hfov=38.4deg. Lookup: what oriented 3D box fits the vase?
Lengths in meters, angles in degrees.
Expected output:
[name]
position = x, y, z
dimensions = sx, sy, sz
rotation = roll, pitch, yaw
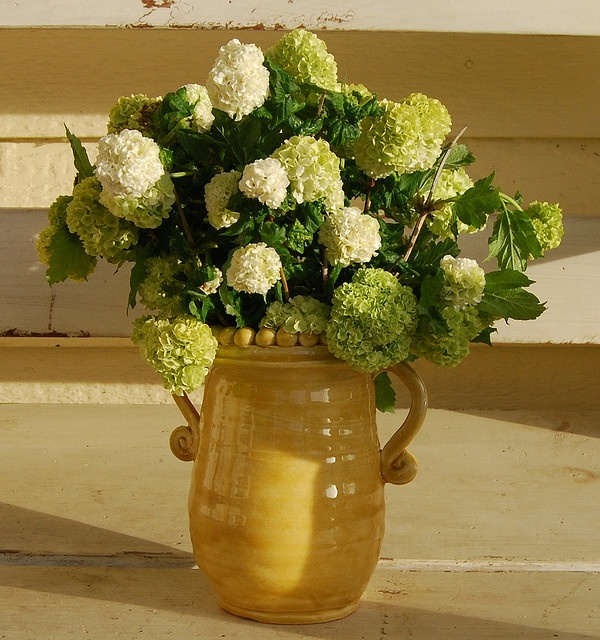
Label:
[vase]
position = -0.069, 0.199, 1.050
dimensions = 0.444, 0.290, 0.259
rotation = 4, -7, -19
